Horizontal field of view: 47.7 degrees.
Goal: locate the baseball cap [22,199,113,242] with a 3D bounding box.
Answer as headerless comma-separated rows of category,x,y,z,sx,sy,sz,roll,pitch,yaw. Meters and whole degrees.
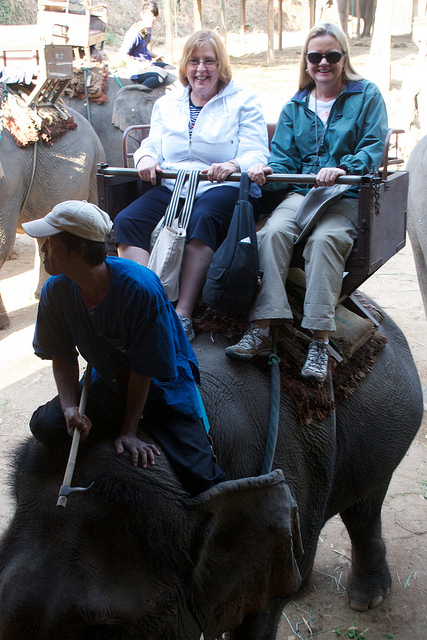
baseball cap,-0.295,-0.206,0.974,0.150,0.076,0.090,10,18,-14

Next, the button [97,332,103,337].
button,-0.241,0.028,1.023,0.009,0.008,0.002,0,6,26

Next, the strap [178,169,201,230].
strap,-0.089,-0.447,1.787,0.062,0.255,0.069,13,-21,7

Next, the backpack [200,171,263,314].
backpack,0.080,-0.252,1.575,0.181,0.437,0.213,1,20,-18

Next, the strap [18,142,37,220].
strap,-1.831,-1.451,4.723,0.112,0.923,0.109,8,-5,-25
